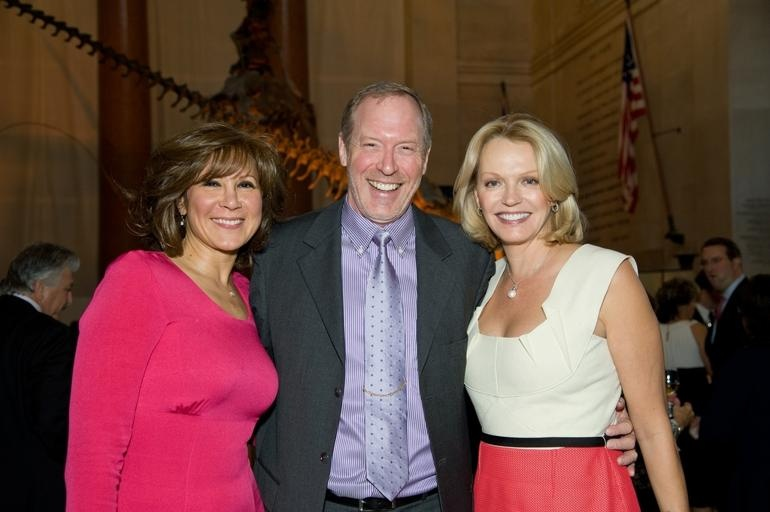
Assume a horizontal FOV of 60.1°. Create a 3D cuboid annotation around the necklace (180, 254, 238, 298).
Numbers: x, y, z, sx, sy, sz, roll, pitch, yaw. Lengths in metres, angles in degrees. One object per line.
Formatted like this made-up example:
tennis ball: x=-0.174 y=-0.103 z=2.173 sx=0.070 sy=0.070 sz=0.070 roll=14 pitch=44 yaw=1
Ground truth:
necklace: x=-1.038 y=0.123 z=3.867 sx=0.073 sy=0.252 sz=0.246 roll=-39 pitch=-20 yaw=23
